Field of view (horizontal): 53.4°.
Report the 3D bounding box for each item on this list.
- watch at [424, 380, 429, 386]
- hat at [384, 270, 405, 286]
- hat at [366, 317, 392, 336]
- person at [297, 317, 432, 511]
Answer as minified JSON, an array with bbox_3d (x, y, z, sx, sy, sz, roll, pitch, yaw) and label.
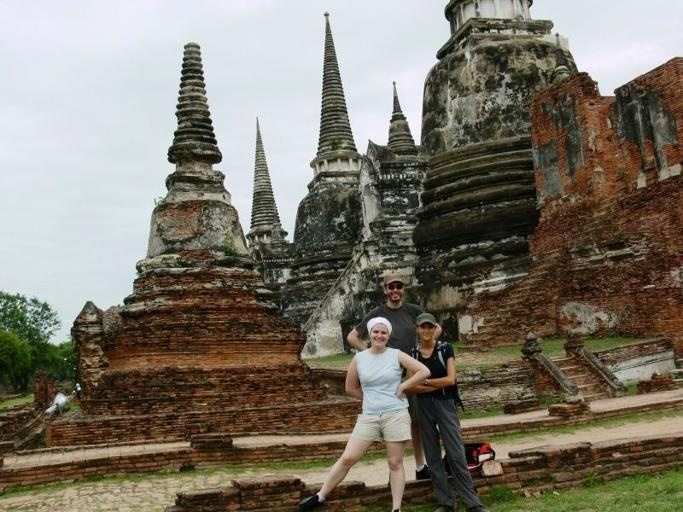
[{"bbox_3d":[0.780,1.163,6.240,0.043,0.044,0.015,1,-16,18],"label":"watch"},{"bbox_3d":[0.506,0.226,6.755,0.185,0.154,0.320,-7,-11,-1],"label":"hat"},{"bbox_3d":[0.343,0.642,6.201,0.169,0.132,0.190,2,10,-8],"label":"hat"},{"bbox_3d":[0.265,1.548,6.102,1.174,1.440,0.319,-14,-14,27],"label":"person"}]
